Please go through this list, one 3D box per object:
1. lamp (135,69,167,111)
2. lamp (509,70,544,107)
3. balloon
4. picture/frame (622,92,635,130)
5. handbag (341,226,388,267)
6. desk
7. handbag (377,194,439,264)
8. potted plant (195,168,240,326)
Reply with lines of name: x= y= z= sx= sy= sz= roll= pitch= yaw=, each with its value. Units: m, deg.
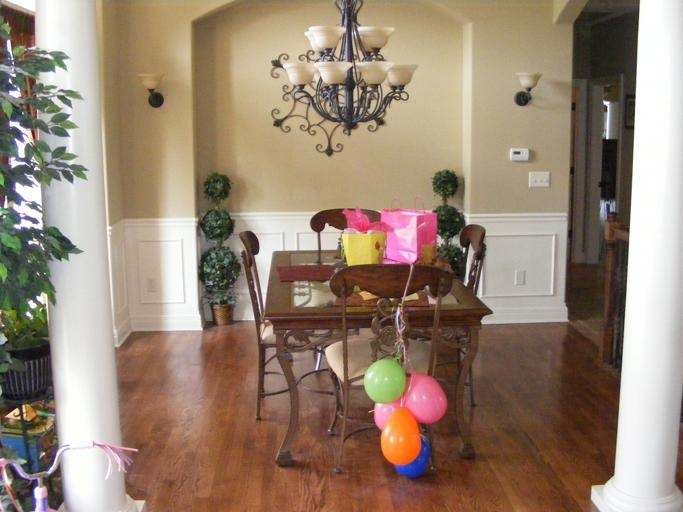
lamp: x=-1.719 y=-1.494 z=5.134 sx=0.216 sy=0.310 sz=0.225 roll=-3 pitch=14 yaw=-12
lamp: x=1.773 y=-1.569 z=5.368 sx=0.261 sy=0.301 sz=0.182 roll=1 pitch=14 yaw=6
balloon: x=0.337 y=0.791 z=2.930 sx=0.267 sy=0.662 sz=0.400 roll=6 pitch=-14 yaw=-38
picture/frame: x=3.528 y=-1.774 z=6.955 sx=0.100 sy=0.418 sz=0.242 roll=3 pitch=14 yaw=15
handbag: x=0.140 y=-0.042 z=3.328 sx=0.200 sy=0.166 sz=0.214 roll=-1 pitch=-7 yaw=10
desk: x=0.273 y=0.416 z=3.348 sx=0.673 sy=1.236 sz=0.696 roll=-6 pitch=36 yaw=-7
handbag: x=0.424 y=-0.111 z=3.302 sx=0.256 sy=0.495 sz=0.470 roll=-2 pitch=2 yaw=-45
potted plant: x=-1.195 y=-0.065 z=5.515 sx=0.411 sy=1.460 sz=0.445 roll=-4 pitch=14 yaw=-15
